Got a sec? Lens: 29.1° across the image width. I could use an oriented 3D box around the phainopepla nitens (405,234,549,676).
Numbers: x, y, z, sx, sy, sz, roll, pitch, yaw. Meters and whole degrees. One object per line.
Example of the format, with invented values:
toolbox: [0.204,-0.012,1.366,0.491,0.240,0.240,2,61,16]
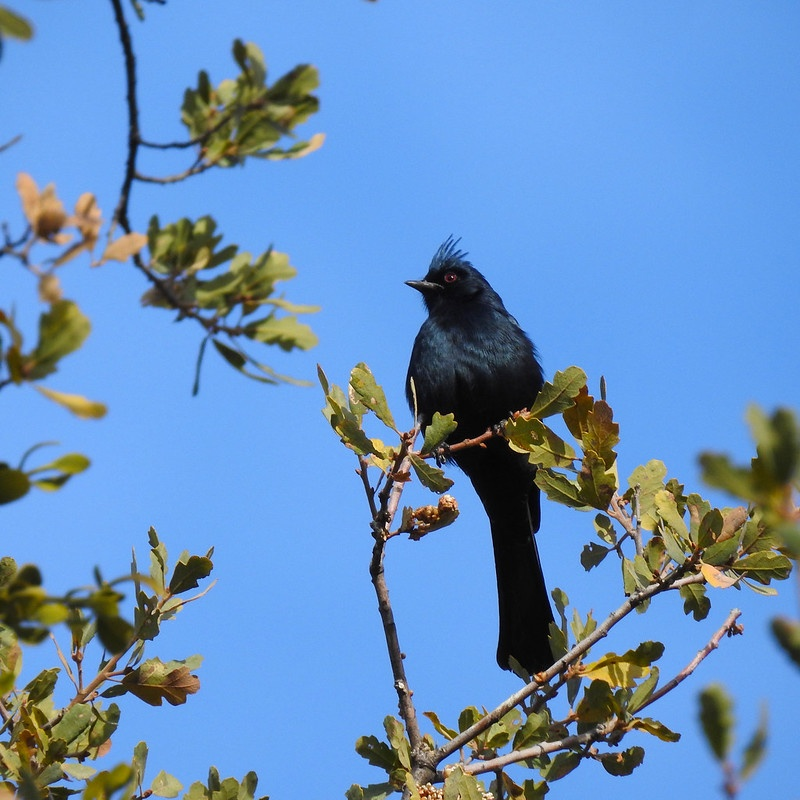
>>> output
phainopepla nitens: [0.374,0.240,6.570,0.442,0.749,1.736,-18,-91,27]
